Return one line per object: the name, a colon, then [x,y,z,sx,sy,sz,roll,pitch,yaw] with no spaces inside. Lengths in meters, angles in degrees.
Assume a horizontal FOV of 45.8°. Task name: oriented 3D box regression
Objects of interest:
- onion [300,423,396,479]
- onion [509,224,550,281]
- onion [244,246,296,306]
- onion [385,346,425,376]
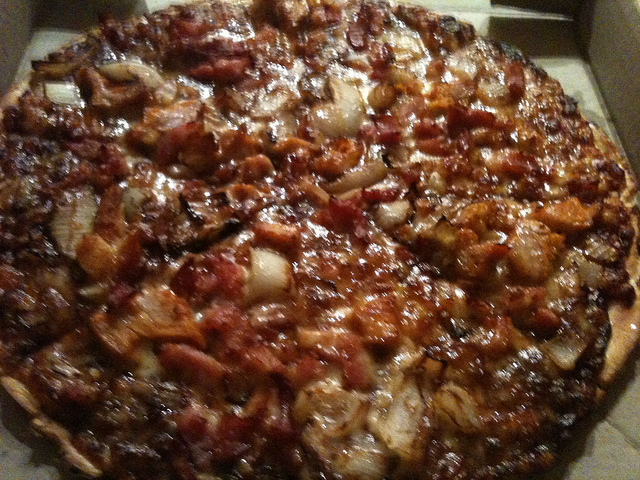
onion: [0.100,0.769,2.743,0.339,0.108,0.163,4,53,5]
onion: [0.827,0.051,3.029,0.134,0.046,0.193,-7,64,-9]
onion: [-0.193,0.138,2.904,0.208,0.088,0.198,1,74,-2]
onion: [0.323,0.449,2.856,0.167,0.028,0.067,-34,58,-23]
